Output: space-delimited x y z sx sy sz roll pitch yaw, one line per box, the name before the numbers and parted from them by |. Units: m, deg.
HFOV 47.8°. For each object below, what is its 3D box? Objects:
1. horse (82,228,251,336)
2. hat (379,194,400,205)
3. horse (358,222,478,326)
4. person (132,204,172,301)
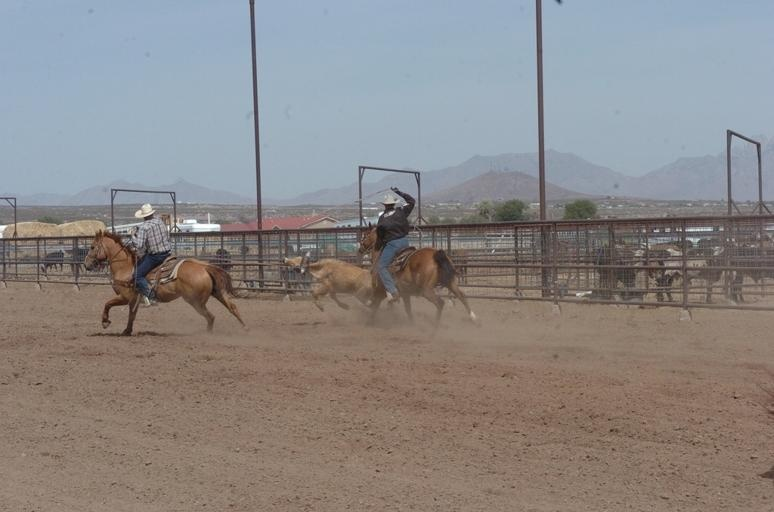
horse | -4.605 0.605 18.409 3.398 2.210 0.812 2 3 -1
hat | 0.114 -1.201 19.264 0.458 0.204 0.518 -6 9 2
horse | 0.761 0.432 19.354 1.312 2.121 2.500 -4 5 -35
person | -4.920 0.015 18.227 0.765 2.183 1.365 -2 4 -16
